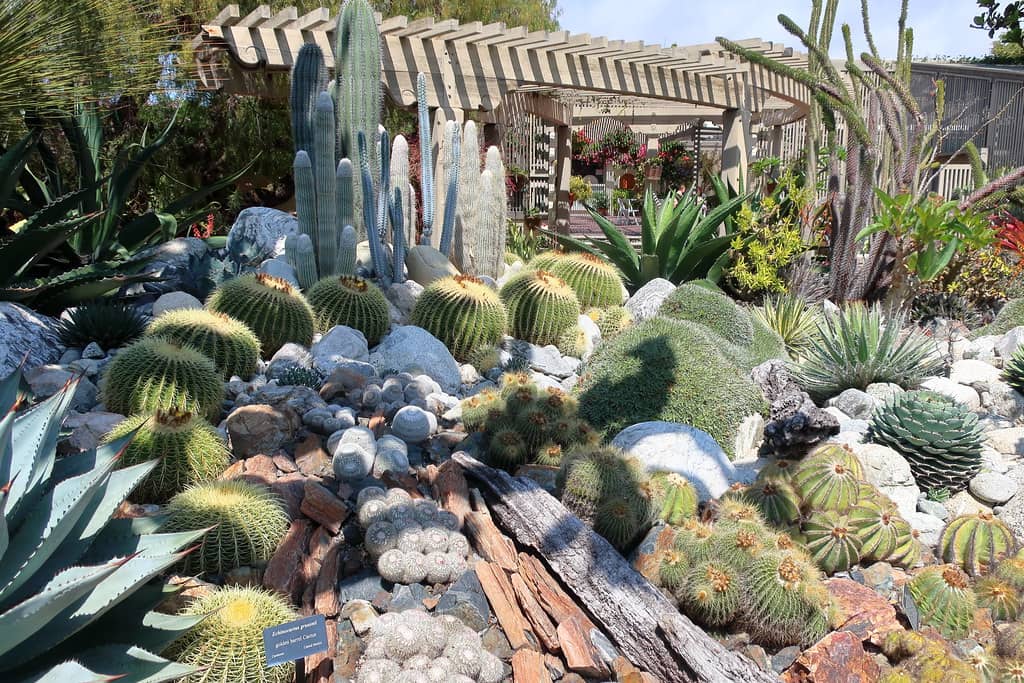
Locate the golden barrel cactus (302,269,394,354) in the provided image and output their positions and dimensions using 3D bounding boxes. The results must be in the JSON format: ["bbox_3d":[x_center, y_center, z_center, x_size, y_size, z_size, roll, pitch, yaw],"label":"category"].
[{"bbox_3d":[-1.309,-0.354,5.676,0.554,0.406,0.586,-6,36,-32],"label":"golden barrel cactus"}]

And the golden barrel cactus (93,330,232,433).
[{"bbox_3d":[-2.090,0.130,4.230,0.511,0.580,0.526,19,16,38],"label":"golden barrel cactus"}]

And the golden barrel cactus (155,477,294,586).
[{"bbox_3d":[-1.417,0.835,3.451,0.428,0.253,0.431,19,18,41],"label":"golden barrel cactus"}]

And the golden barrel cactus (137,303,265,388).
[{"bbox_3d":[-2.026,-0.014,4.744,0.535,0.342,0.537,-1,20,-40],"label":"golden barrel cactus"}]

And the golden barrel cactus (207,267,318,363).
[{"bbox_3d":[-1.828,-0.248,5.238,0.632,0.472,0.654,-3,32,-37],"label":"golden barrel cactus"}]

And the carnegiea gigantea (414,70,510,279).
[{"bbox_3d":[-0.518,-1.705,7.456,0.979,2.004,1.241,4,14,-2],"label":"carnegiea gigantea"}]

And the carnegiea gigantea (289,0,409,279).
[{"bbox_3d":[-1.509,-1.839,6.368,1.092,2.528,1.537,7,15,11],"label":"carnegiea gigantea"}]

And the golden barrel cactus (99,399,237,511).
[{"bbox_3d":[-1.951,0.612,3.967,0.745,0.560,0.865,11,7,-36],"label":"golden barrel cactus"}]
